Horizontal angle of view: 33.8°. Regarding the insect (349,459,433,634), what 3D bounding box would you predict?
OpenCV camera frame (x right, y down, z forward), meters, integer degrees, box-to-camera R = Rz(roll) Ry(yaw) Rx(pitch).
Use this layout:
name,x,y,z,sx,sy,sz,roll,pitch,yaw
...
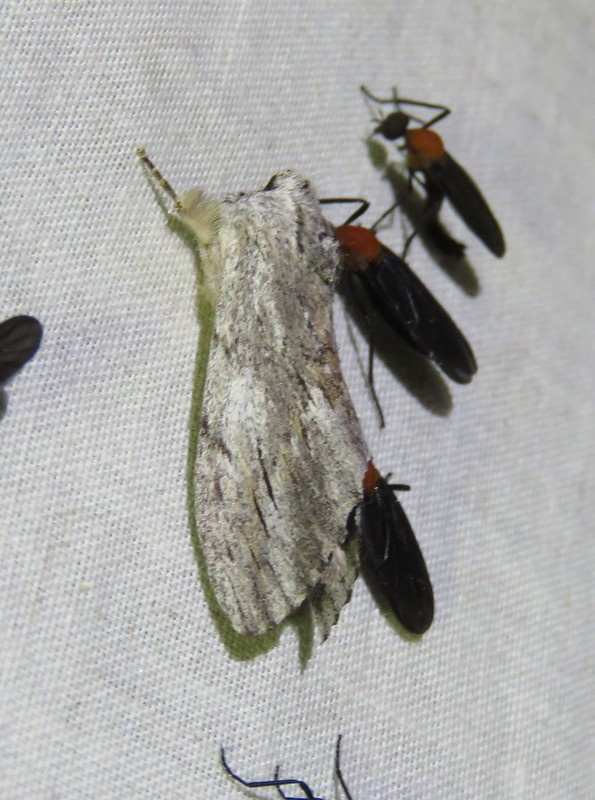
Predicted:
name,x,y,z,sx,sy,sz,roll,pitch,yaw
insect,0.099,0.174,1.205,0.122,0.048,0.201,-20,103,-22

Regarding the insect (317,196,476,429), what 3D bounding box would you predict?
name,x,y,z,sx,sy,sz,roll,pitch,yaw
insect,0.114,-0.103,1.359,0.203,0.080,0.297,-35,107,-30
